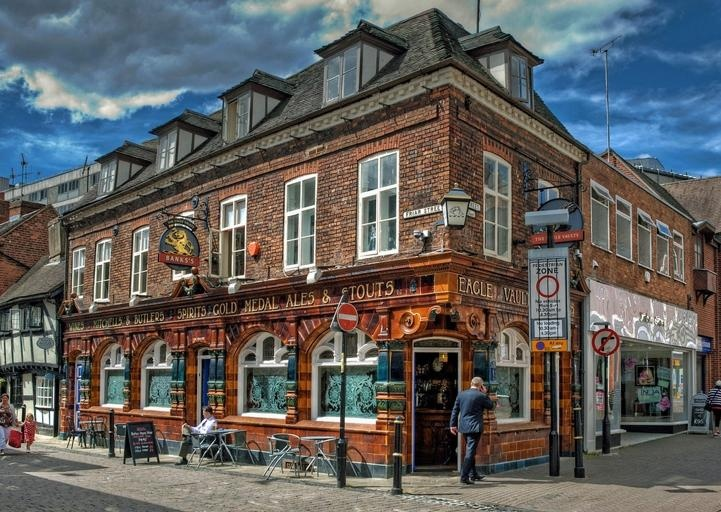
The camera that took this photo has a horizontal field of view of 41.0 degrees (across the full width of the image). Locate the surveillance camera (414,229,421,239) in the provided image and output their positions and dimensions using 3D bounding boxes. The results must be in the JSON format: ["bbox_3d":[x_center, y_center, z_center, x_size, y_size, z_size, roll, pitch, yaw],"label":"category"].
[{"bbox_3d":[1.583,-0.594,26.907,0.180,0.240,0.331,0,2,-13],"label":"surveillance camera"}]

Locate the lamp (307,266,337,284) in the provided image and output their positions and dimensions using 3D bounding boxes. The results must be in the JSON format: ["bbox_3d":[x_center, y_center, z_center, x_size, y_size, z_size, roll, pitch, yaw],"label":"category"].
[{"bbox_3d":[-1.221,0.587,28.412,0.789,0.531,0.454,3,8,27],"label":"lamp"}]

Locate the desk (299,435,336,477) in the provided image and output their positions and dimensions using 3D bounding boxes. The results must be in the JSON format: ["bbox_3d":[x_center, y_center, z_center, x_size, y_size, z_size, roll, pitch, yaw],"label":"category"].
[{"bbox_3d":[-1.155,5.686,27.571,1.235,1.223,1.177,0,-16,-6],"label":"desk"}]

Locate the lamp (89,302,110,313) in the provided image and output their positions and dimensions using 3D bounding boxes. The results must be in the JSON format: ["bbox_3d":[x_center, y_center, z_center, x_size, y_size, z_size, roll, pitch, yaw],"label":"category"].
[{"bbox_3d":[-9.822,1.950,35.992,0.874,0.407,0.480,5,8,34],"label":"lamp"}]

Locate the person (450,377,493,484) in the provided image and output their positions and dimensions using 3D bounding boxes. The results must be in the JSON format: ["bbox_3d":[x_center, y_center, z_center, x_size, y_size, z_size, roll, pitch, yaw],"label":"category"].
[{"bbox_3d":[2.972,4.723,26.313,0.878,2.701,1.112,5,9,36],"label":"person"}]

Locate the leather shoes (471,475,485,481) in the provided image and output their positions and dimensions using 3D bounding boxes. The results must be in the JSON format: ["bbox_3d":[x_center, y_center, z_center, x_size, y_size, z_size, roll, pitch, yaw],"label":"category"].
[{"bbox_3d":[3.199,6.011,26.192,0.415,0.183,0.141,1,-1,-26],"label":"leather shoes"}]

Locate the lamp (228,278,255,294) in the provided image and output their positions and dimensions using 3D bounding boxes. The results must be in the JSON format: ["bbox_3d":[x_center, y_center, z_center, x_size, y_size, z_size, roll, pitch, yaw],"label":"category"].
[{"bbox_3d":[-3.858,1.000,30.514,0.452,0.380,0.674,-6,-13,34],"label":"lamp"}]

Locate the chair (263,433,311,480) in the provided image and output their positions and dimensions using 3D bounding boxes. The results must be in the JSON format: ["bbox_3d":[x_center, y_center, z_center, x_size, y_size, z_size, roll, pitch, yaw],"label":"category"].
[{"bbox_3d":[-2.266,5.748,27.819,1.156,1.561,1.281,-7,-12,25],"label":"chair"}]

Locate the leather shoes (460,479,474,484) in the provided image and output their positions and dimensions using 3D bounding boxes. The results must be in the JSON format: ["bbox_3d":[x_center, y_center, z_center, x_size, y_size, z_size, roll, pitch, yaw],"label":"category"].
[{"bbox_3d":[2.890,6.073,25.998,0.337,0.166,0.120,1,-4,-5],"label":"leather shoes"}]

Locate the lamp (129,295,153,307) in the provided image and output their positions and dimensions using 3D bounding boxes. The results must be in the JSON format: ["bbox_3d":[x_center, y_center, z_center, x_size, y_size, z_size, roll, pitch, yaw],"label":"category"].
[{"bbox_3d":[-7.807,1.564,33.989,0.639,0.426,0.458,-4,-16,10],"label":"lamp"}]

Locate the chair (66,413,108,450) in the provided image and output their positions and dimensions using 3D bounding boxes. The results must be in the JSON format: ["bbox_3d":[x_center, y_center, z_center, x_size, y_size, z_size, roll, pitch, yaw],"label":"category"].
[{"bbox_3d":[-9.773,6.335,34.414,1.398,0.742,1.435,-3,-6,21],"label":"chair"}]

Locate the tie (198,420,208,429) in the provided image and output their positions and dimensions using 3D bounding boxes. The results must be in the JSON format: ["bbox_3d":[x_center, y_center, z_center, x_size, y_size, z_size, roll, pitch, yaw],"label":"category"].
[{"bbox_3d":[-4.866,5.151,29.699,0.198,0.273,0.279,10,-37,-22],"label":"tie"}]

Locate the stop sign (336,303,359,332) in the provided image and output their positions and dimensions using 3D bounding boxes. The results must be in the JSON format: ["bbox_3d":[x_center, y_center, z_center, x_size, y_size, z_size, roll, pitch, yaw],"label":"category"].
[{"bbox_3d":[-0.389,1.656,25.952,0.328,0.734,0.872,3,7,24],"label":"stop sign"}]

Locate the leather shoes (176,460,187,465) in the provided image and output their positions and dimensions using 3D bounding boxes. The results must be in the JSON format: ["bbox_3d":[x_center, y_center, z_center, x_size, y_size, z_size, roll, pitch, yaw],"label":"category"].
[{"bbox_3d":[-5.536,6.305,29.564,0.318,0.143,0.275,-1,7,-10],"label":"leather shoes"}]

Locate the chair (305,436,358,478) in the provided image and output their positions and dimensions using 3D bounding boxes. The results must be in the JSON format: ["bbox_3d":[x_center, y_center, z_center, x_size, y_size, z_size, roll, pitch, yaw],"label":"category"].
[{"bbox_3d":[-0.959,5.528,27.370,1.436,0.932,1.398,2,-22,-3],"label":"chair"}]

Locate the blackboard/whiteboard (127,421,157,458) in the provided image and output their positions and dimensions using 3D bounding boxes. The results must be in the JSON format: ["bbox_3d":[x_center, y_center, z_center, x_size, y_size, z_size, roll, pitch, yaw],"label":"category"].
[{"bbox_3d":[-6.727,5.612,29.380,0.930,1.332,0.743,6,-15,-41],"label":"blackboard/whiteboard"}]
